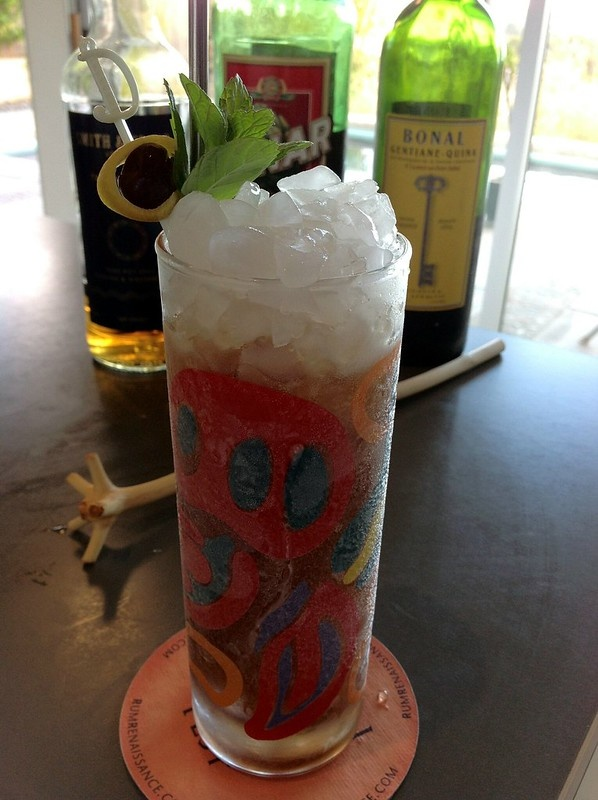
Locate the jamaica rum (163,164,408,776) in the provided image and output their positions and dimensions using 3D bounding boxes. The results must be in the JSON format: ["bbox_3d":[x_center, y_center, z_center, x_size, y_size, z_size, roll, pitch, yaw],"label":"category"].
[{"bbox_3d":[-0.012,0.032,0.330,0.101,0.252,0.141,-1,29,-11],"label":"jamaica rum"}]
